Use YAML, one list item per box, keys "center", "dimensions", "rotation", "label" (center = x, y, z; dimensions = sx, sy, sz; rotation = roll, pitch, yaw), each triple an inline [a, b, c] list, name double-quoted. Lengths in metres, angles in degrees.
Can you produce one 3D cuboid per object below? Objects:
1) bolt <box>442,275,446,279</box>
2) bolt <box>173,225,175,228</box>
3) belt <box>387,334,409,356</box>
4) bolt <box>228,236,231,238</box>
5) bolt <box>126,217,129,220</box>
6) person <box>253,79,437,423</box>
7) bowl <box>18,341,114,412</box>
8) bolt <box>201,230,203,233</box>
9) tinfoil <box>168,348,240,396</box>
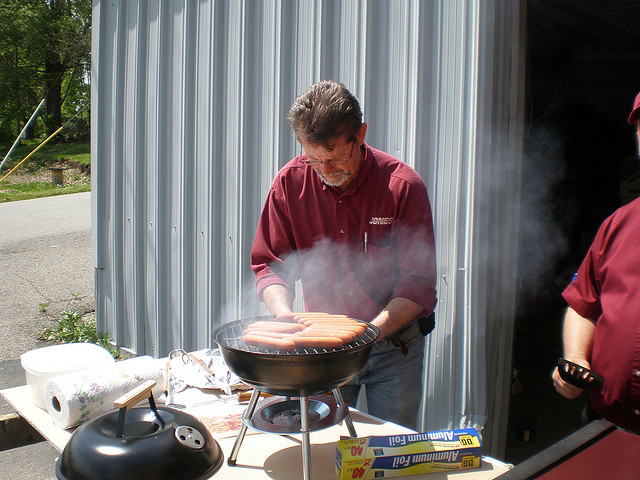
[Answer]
- center: [1.028, 0.308, 5.211]
  dimensions: [0.027, 0.033, 0.009]
  rotation: [4, 13, 22]
  label: "bolt"
- center: [-1.715, -0.165, 7.360]
  dimensions: [0.020, 0.023, 0.015]
  rotation: [-11, -19, 37]
  label: "bolt"
- center: [0.547, 0.728, 4.338]
  dimensions: [0.036, 0.147, 0.129]
  rotation: [-1, -6, -15]
  label: "belt"
- center: [-0.973, -0.038, 6.747]
  dimensions: [0.018, 0.021, 0.020]
  rotation: [8, -7, -9]
  label: "bolt"
- center: [-2.464, -0.278, 8.034]
  dimensions: [0.028, 0.039, 0.031]
  rotation: [1, -3, 5]
  label: "bolt"
- center: [0.183, 0.137, 4.424]
  dimensions: [1.240, 2.447, 0.659]
  rotation: [1, 12, 11]
  label: "person"
- center: [-1.753, 0.863, 4.329]
  dimensions: [0.485, 0.275, 0.432]
  rotation: [-4, 14, -38]
  label: "bowl"
- center: [-1.326, -0.097, 7.026]
  dimensions: [0.023, 0.031, 0.026]
  rotation: [1, 6, -27]
  label: "bolt"
- center: [-0.842, 0.974, 4.506]
  dimensions: [0.368, 0.034, 0.404]
  rotation: [28, 33, 28]
  label: "tinfoil"
